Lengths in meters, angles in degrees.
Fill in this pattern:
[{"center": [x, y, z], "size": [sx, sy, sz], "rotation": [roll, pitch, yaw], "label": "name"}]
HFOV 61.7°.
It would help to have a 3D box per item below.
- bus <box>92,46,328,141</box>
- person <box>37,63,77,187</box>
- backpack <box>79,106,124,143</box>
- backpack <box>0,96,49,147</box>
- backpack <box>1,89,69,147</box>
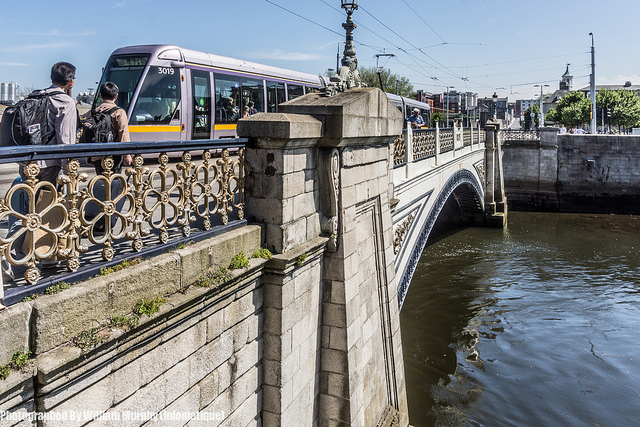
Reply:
[{"center": [-2.648, -3.310, 15.136], "size": [1.867, 2.201, 9.245], "rotation": [11, 14, 20], "label": "bus"}, {"center": [-2.763, -0.926, 5.556], "size": [0.342, 1.242, 0.590], "rotation": [-1, 14, -11], "label": "person"}, {"center": [-2.530, -1.004, 6.137], "size": [0.314, 0.391, 0.396], "rotation": [1, 3, 19], "label": "backpack"}, {"center": [-3.061, -0.959, 5.500], "size": [0.453, 0.495, 0.214], "rotation": [2, 13, 0], "label": "backpack"}, {"center": [-2.992, -0.987, 5.513], "size": [0.585, 0.548, 0.256], "rotation": [-6, 15, -29], "label": "backpack"}]
